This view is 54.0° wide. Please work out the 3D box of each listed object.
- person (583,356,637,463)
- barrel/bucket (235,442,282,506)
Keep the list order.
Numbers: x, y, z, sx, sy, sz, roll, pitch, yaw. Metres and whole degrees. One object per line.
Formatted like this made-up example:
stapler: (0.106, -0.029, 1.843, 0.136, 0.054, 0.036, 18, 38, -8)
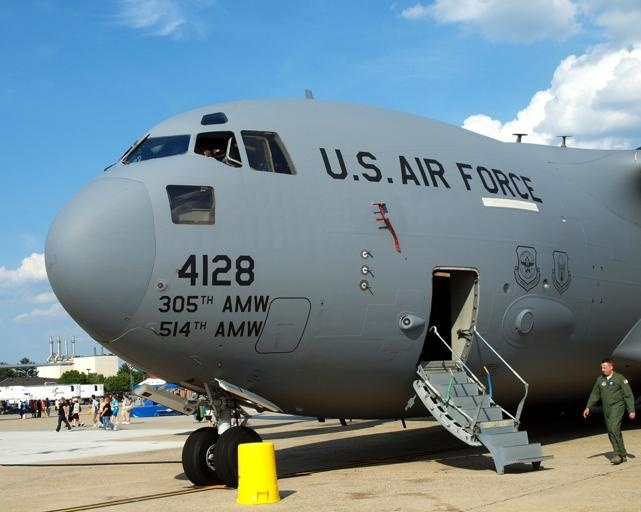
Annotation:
person: (5.863, 3.127, 12.787, 0.912, 2.048, 0.797, -5, -7, 19)
barrel/bucket: (-1.094, 3.741, 10.905, 0.736, 0.958, 0.411, -2, -6, -5)
